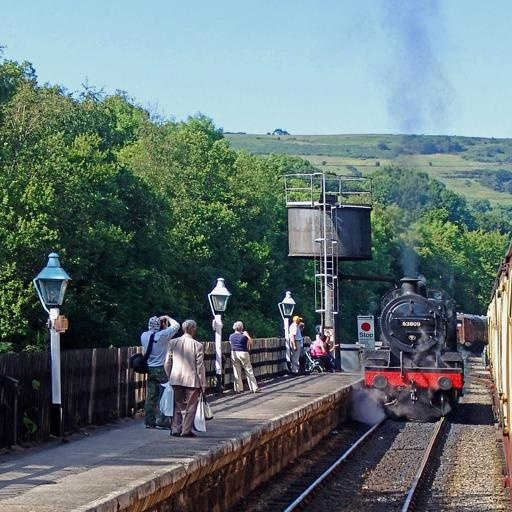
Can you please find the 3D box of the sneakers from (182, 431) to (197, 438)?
[{"bbox_3d":[-1.012,2.816,16.304,0.250,0.091,0.376,-4,-4,-5],"label":"sneakers"}]

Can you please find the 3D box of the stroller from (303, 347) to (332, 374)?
[{"bbox_3d":[2.194,3.570,34.604,0.897,0.916,0.668,-2,-2,11],"label":"stroller"}]

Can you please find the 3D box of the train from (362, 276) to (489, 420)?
[{"bbox_3d":[3.979,2.281,25.092,2.322,2.446,2.104,-5,-3,11],"label":"train"}]

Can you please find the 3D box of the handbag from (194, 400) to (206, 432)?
[{"bbox_3d":[-0.833,2.474,16.047,0.182,0.486,0.200,-4,-3,-3],"label":"handbag"}]
